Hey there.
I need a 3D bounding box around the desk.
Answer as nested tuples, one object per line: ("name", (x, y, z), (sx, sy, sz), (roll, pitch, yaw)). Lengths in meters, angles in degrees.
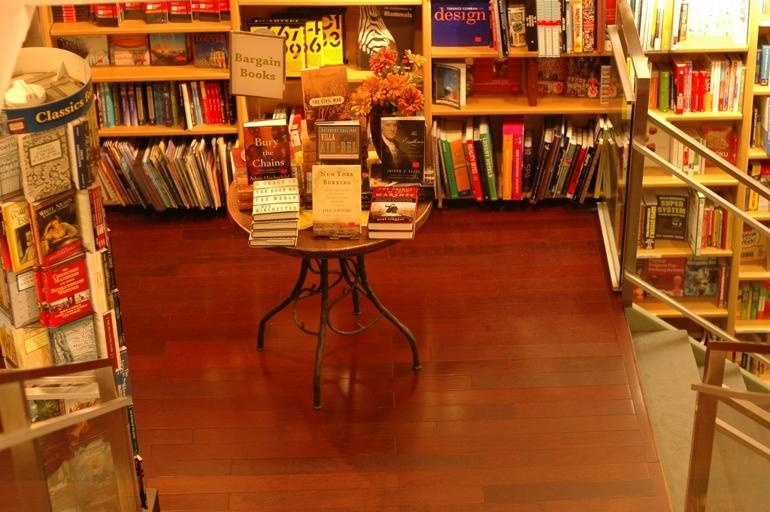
("desk", (-0.332, 0.198, 3.819), (1.121, 1.114, 1.084), (17, 34, 28))
